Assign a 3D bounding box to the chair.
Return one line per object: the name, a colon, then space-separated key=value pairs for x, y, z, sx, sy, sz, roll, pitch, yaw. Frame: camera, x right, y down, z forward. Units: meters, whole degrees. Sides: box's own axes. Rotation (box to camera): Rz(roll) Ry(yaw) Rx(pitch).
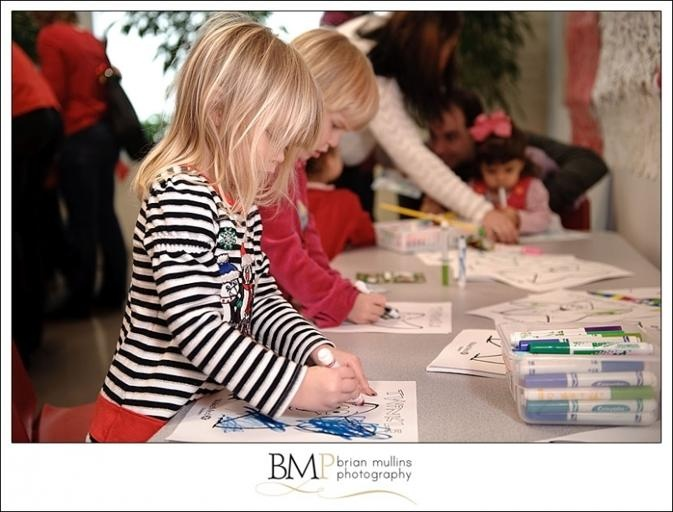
chair: x=-0.419 y=0.206 z=0.865 sx=0.104 sy=0.144 sz=0.237 roll=-7 pitch=9 yaw=-24
